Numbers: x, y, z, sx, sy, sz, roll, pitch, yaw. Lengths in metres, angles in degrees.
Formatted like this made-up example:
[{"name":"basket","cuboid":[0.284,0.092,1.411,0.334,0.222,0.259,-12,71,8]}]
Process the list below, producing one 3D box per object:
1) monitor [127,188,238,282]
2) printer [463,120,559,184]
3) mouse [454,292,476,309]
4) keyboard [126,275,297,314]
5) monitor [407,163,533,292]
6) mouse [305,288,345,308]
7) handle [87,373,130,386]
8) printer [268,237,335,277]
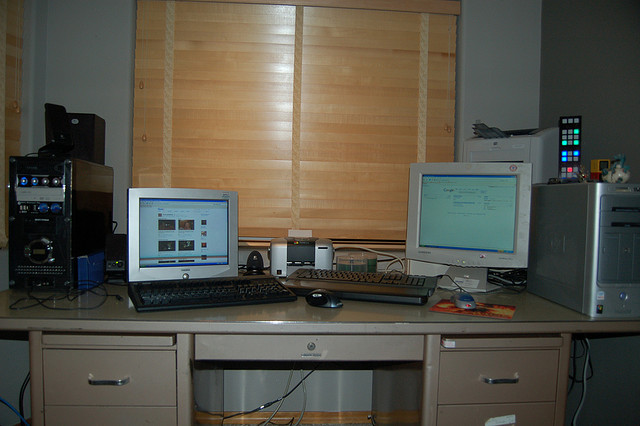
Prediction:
[{"name":"monitor","cuboid":[-0.701,0.099,2.863,0.547,0.461,0.072,-1,4,-15]},{"name":"printer","cuboid":[1.046,-0.314,3.112,0.385,0.399,0.523,1,0,-39]},{"name":"mouse","cuboid":[0.695,0.418,2.666,0.093,0.056,0.065,1,3,11]},{"name":"keyboard","cuboid":[-0.525,0.388,2.715,0.786,0.120,0.245,-1,3,-13]},{"name":"monitor","cuboid":[0.830,0.055,3.002,0.677,0.665,0.249,2,-1,36]},{"name":"mouse","cuboid":[0.024,0.404,2.645,0.160,0.052,0.084,-3,-1,28]},{"name":"handle","cuboid":[-0.954,0.750,2.510,0.143,0.022,0.067,3,-2,-6]},{"name":"printer","cuboid":[-0.104,0.226,3.037,0.372,0.197,0.245,4,6,-5]}]
